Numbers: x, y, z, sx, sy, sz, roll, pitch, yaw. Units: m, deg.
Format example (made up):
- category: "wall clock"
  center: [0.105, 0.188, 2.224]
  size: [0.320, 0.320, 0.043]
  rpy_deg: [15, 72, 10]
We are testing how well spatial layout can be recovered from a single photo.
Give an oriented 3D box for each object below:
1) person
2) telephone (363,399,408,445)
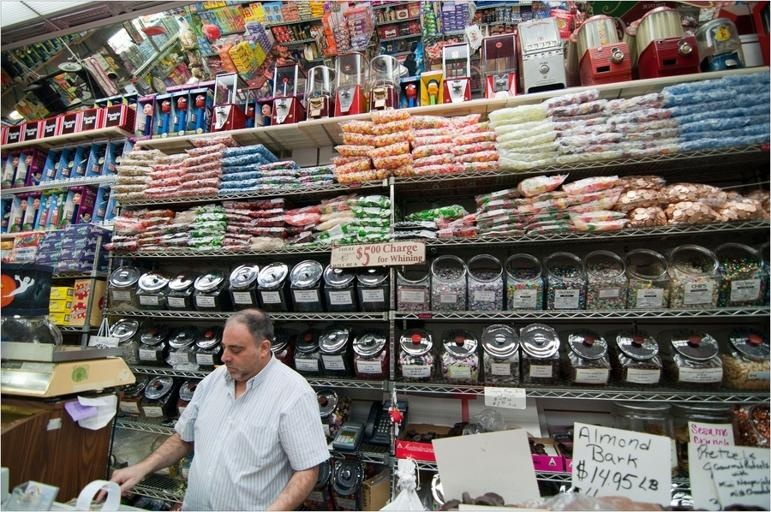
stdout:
- category: "person"
  center: [-0.870, 0.998, 2.922]
  size: [0.760, 1.562, 0.798]
  rpy_deg: [3, 15, 27]
- category: "telephone"
  center: [-0.027, 1.200, 3.589]
  size: [0.268, 0.132, 0.336]
  rpy_deg: [-1, 24, 11]
